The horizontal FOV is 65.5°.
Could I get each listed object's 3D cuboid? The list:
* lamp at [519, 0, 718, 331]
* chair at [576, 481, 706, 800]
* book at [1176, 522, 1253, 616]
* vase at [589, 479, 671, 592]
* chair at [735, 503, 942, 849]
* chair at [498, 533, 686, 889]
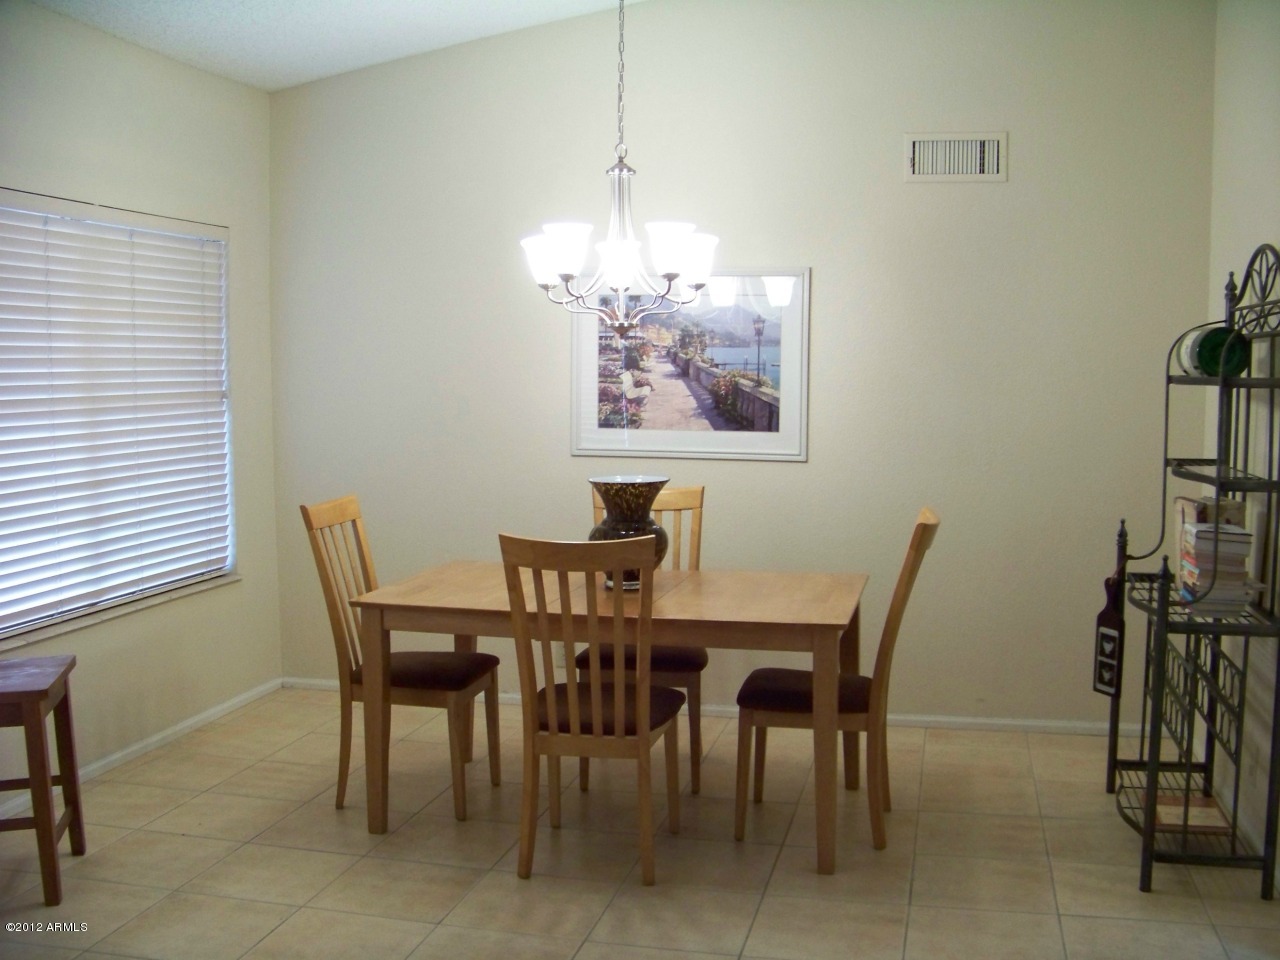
[{"bbox_3d":[-0.048,-1.456,4.397,0.973,1.644,1.498,-2,11,-7],"label":"lamp"},{"bbox_3d":[0.021,0.702,4.539,0.583,1.404,0.600,0,-3,10],"label":"chair"},{"bbox_3d":[2.029,0.252,3.621,0.241,0.402,0.414,0,1,14],"label":"book"},{"bbox_3d":[-0.015,0.213,3.999,0.308,0.404,0.315,0,-3,-2],"label":"vase"},{"bbox_3d":[0.765,0.804,3.989,0.748,1.219,0.651,1,0,4],"label":"chair"},{"bbox_3d":[-0.160,0.768,3.741,0.653,1.268,1.114,-1,10,-1],"label":"chair"}]
